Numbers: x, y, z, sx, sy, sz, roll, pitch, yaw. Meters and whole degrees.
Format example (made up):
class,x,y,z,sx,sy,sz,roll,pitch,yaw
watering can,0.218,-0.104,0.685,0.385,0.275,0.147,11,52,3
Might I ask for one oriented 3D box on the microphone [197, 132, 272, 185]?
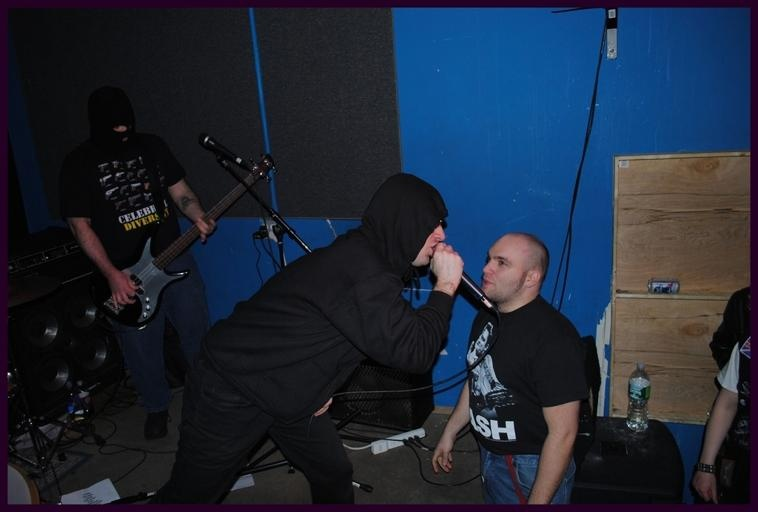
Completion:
class,x,y,z,sx,sy,sz,roll,pitch,yaw
microphone,-0.985,-0.656,4.196,0.663,0.256,0.230,22,43,-40

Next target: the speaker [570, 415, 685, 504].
class,x,y,z,sx,sy,sz,roll,pitch,yaw
speaker,1.446,1.193,3.346,0.536,0.352,0.542,1,15,20

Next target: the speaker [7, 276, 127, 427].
class,x,y,z,sx,sy,sz,roll,pitch,yaw
speaker,-2.418,0.712,4.414,0.415,1.033,0.910,-3,19,22

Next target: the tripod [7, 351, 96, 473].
class,x,y,z,sx,sy,sz,roll,pitch,yaw
tripod,-2.399,1.113,4.187,0.588,0.689,0.785,-13,22,-34

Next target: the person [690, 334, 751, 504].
class,x,y,z,sx,sy,sz,roll,pitch,yaw
person,1.966,0.946,3.261,0.272,0.994,0.373,6,19,18

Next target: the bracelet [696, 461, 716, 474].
class,x,y,z,sx,sy,sz,roll,pitch,yaw
bracelet,1.830,1.188,3.244,0.075,0.030,0.073,4,-3,-24

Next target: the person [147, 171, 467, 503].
class,x,y,z,sx,sy,sz,roll,pitch,yaw
person,-0.398,0.658,3.115,1.567,1.645,0.448,2,18,5

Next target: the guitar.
class,x,y,z,sx,sy,sz,roll,pitch,yaw
guitar,-1.495,-0.181,4.377,1.612,0.477,0.177,-45,22,-12

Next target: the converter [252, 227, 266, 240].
class,x,y,z,sx,sy,sz,roll,pitch,yaw
converter,-0.943,-0.190,4.647,0.104,0.104,0.107,18,16,15
